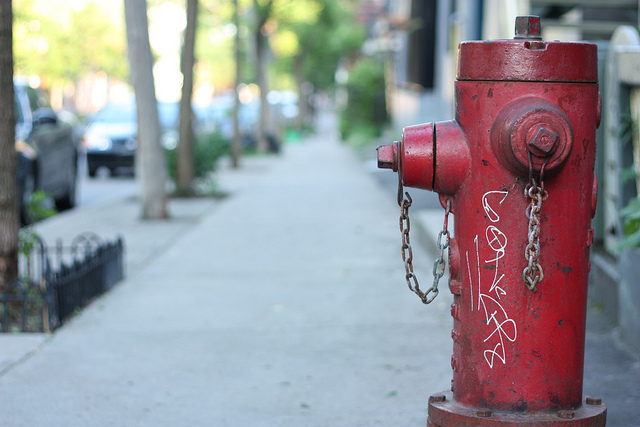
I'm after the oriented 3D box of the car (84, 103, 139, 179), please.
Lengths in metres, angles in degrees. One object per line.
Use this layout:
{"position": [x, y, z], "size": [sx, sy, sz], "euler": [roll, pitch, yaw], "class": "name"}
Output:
{"position": [-5.331, -1.889, 23.410], "size": [1.485, 1.625, 3.342], "euler": [0, 1, -6], "class": "car"}
